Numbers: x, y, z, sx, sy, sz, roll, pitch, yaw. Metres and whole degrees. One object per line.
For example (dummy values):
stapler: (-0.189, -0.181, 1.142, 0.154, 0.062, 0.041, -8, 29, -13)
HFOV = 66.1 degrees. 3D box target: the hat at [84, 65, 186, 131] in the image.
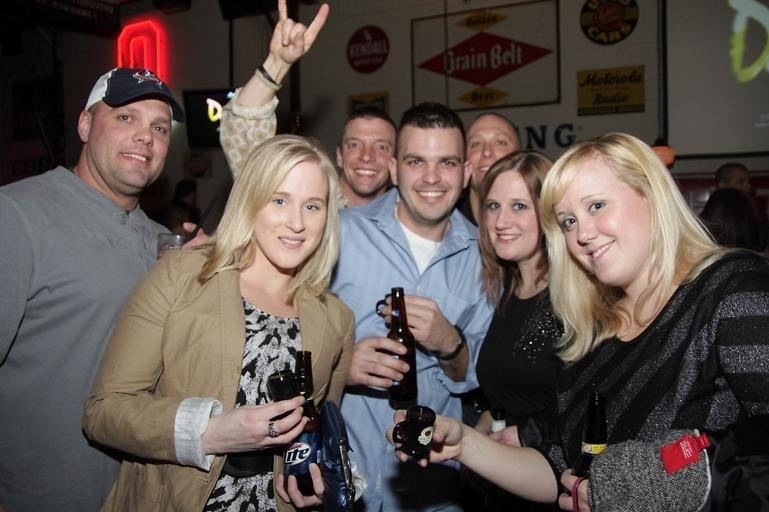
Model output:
hat: (-1.464, -0.920, 3.303, 0.436, 0.241, 0.353, 13, 4, 37)

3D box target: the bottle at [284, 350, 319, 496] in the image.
bottle: (-0.376, 0.752, 2.660, 0.150, 0.665, 0.179, 0, 10, -10)

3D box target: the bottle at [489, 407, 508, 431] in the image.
bottle: (0.655, 0.965, 3.433, 0.097, 0.137, 0.184, 4, 11, 12)

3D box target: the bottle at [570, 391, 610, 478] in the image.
bottle: (0.951, 0.814, 2.722, 0.137, 0.428, 0.271, 5, 11, 21)

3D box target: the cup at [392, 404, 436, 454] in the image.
cup: (0.140, 0.765, 2.679, 0.228, 0.219, 0.144, 0, 8, -21)

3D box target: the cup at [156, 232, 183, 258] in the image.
cup: (-1.131, -0.061, 3.096, 0.126, 0.150, 0.138, 1, -6, 0)
